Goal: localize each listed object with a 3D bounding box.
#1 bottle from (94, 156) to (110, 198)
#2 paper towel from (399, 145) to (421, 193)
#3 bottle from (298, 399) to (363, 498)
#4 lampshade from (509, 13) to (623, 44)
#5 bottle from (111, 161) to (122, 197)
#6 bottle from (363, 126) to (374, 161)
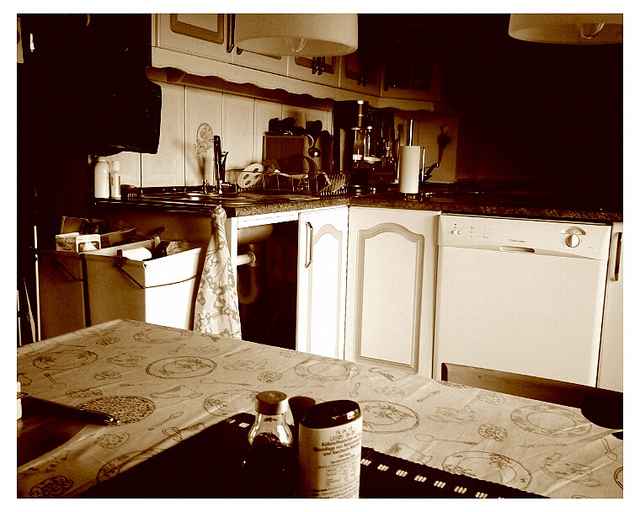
[{"bbox_3d":[-0.932,-0.337,2.064,0.063,0.173,0.039,-8,15,-39],"label":"bottle"},{"bbox_3d":[0.463,-0.456,2.541,0.132,0.229,0.094,-4,35,4],"label":"paper towel"},{"bbox_3d":[0.012,0.211,0.525,0.068,0.120,0.040,-7,24,-20],"label":"bottle"},{"bbox_3d":[0.629,-0.579,1.231,0.230,0.056,0.224,-17,24,-42],"label":"lampshade"},{"bbox_3d":[-0.902,-0.343,2.140,0.046,0.151,0.178,-3,13,-22],"label":"bottle"},{"bbox_3d":[0.321,-0.746,3.158,0.027,0.181,0.138,7,13,23],"label":"bottle"}]
